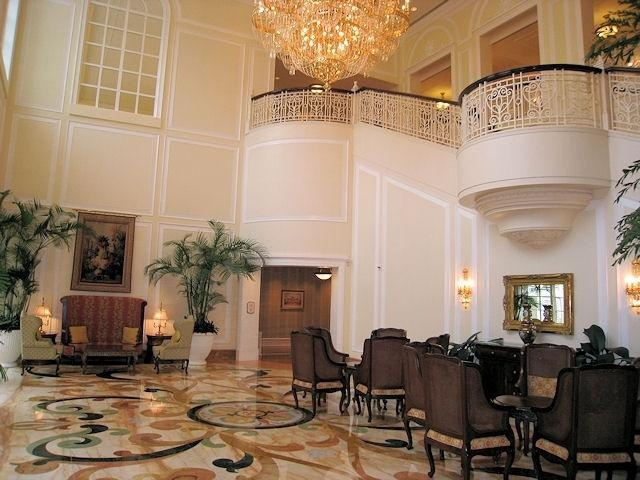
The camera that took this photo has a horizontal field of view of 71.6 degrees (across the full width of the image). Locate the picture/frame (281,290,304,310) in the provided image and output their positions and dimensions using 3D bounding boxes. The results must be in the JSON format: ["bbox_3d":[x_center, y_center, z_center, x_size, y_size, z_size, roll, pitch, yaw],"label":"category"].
[{"bbox_3d":[-0.985,1.988,14.898,0.631,0.552,0.063,4,-9,-25],"label":"picture/frame"}]

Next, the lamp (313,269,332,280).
[{"bbox_3d":[0.095,1.017,13.724,0.489,0.367,0.504,-1,-5,-10],"label":"lamp"}]

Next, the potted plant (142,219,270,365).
[{"bbox_3d":[-3.071,1.261,11.870,2.895,3.776,1.120,3,-7,-3],"label":"potted plant"}]

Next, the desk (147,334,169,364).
[{"bbox_3d":[-4.185,2.723,11.279,0.529,0.616,0.618,8,-9,-28],"label":"desk"}]

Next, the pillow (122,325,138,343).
[{"bbox_3d":[-4.723,2.307,10.945,0.304,0.323,0.121,-2,-17,-5],"label":"pillow"}]

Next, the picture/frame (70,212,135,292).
[{"bbox_3d":[-5.664,0.329,11.337,1.758,2.659,0.121,5,-6,-24],"label":"picture/frame"}]

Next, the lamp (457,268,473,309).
[{"bbox_3d":[3.076,1.010,9.426,0.174,0.856,0.394,5,-7,-25],"label":"lamp"}]

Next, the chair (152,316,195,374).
[{"bbox_3d":[-3.493,2.465,10.558,0.840,1.226,0.689,4,-7,-15],"label":"chair"}]

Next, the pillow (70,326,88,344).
[{"bbox_3d":[-5.710,2.195,10.442,0.372,0.394,0.174,6,-25,-37],"label":"pillow"}]
